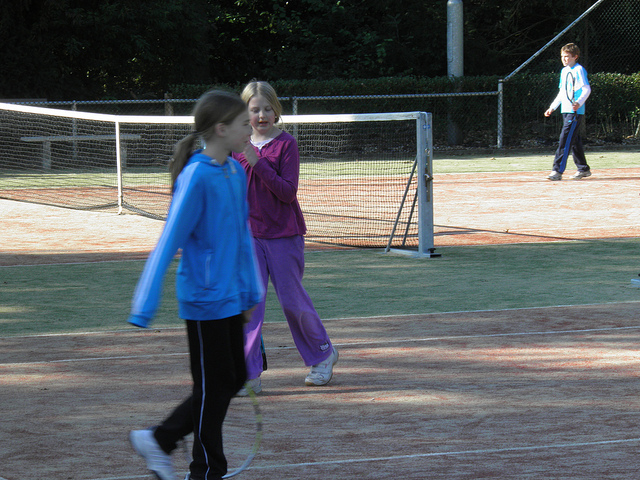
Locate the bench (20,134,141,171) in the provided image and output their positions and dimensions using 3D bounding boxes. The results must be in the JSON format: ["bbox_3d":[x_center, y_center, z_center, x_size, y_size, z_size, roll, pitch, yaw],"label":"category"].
[{"bbox_3d":[-5.892,-2.252,24.141,4.460,0.818,0.283,2,19,33],"label":"bench"}]

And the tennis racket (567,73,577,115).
[{"bbox_3d":[4.759,-2.832,17.869,0.097,0.542,0.209,-2,7,-19],"label":"tennis racket"}]

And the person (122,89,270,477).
[{"bbox_3d":[-0.751,0.254,5.808,0.517,2.345,0.788,4,7,31],"label":"person"}]

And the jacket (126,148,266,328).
[{"bbox_3d":[-0.783,-0.027,5.980,0.750,0.938,1.677,-3,5,-1],"label":"jacket"}]
